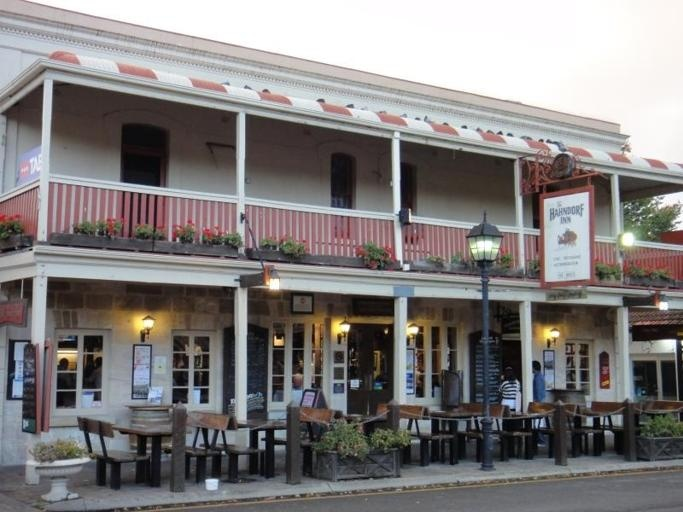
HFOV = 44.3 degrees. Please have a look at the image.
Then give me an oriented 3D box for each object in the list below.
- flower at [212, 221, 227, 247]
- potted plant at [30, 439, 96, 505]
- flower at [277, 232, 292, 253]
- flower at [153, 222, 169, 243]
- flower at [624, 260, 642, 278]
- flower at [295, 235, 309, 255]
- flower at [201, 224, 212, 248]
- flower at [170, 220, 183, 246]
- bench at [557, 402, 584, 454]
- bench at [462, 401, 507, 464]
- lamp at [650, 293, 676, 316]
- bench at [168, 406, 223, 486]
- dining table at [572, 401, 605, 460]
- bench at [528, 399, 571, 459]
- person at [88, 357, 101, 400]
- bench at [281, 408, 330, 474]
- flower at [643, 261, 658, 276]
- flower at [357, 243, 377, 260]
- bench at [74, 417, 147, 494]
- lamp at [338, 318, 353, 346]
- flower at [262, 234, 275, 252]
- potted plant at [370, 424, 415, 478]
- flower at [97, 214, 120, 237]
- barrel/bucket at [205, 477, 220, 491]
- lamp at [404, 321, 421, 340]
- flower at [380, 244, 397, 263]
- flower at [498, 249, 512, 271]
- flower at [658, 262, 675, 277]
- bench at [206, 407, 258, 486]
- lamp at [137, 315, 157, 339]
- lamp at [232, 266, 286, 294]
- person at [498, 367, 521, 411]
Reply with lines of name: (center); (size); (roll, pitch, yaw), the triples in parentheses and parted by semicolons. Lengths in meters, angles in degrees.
flower: (-2.459, -0.457, 17.028); (0.373, 0.476, 0.394); (-1, -2, -43)
potted plant: (-4.844, 3.655, 14.398); (0.927, 1.028, 1.219); (4, -14, -20)
flower: (-1.193, -0.243, 17.551); (0.316, 0.225, 0.309); (2, -7, -6)
flower: (-3.534, -0.441, 16.532); (0.293, 0.296, 0.293); (5, 11, 33)
flower: (7.469, 0.312, 21.604); (0.416, 0.244, 0.414); (7, 2, -20)
flower: (-0.837, -0.235, 17.767); (0.344, 0.248, 0.344); (4, 16, 6)
flower: (-2.705, -0.396, 16.868); (0.285, 0.401, 0.294); (1, -8, 2)
flower: (-3.307, -0.448, 16.697); (0.224, 0.471, 0.334); (2, -14, -12)
bench: (5.538, 4.001, 19.590); (0.578, 1.039, 1.520); (0, -5, 20)
bench: (3.125, 3.855, 18.307); (0.641, 1.022, 1.533); (5, -13, -18)
lamp: (8.213, 1.205, 21.458); (0.426, 0.500, 1.826); (-6, -14, 21)
bench: (-2.959, 3.832, 16.025); (0.857, 0.916, 2.523); (-6, -14, -9)
dining table: (5.718, 4.062, 19.422); (0.518, 0.927, 1.455); (-1, -5, 16)
bench: (4.473, 3.856, 18.655); (0.632, 1.112, 1.631); (-2, -14, 33)
person: (-5.217, 2.581, 17.746); (0.263, 0.910, 0.087); (8, -16, -34)
bench: (-0.662, 3.520, 15.994); (0.568, 1.043, 1.545); (3, -5, -19)
flower: (8.054, 0.331, 21.831); (0.334, 0.085, 0.368); (1, 33, 4)
flower: (0.547, -0.095, 18.278); (0.330, 0.287, 0.316); (5, -3, -27)
bench: (-4.073, 3.521, 15.078); (0.936, 1.177, 1.366); (6, -8, -41)
lamp: (0.094, 1.846, 20.615); (0.262, 0.570, 0.857); (-3, -13, 7)
flower: (-1.505, -0.247, 17.443); (0.272, 0.272, 0.270); (1, 6, -21)
potted plant: (0.943, 3.734, 15.999); (0.787, 0.887, 0.334); (8, -16, -34)
flower: (-4.440, -0.531, 16.024); (0.445, 0.384, 0.208); (2, -14, -15)
barrel/bucket: (-2.282, 3.974, 14.667); (0.189, 0.117, 0.191); (0, -4, 0)
lamp: (1.814, 1.898, 21.363); (0.403, 0.647, 0.518); (1, -5, -3)
flower: (1.033, -0.034, 18.555); (0.155, 0.437, 0.552); (-9, -15, 29)
flower: (3.929, 0.082, 20.138); (0.394, 0.527, 0.448); (2, -6, 39)
flower: (8.537, 0.337, 22.072); (0.240, 0.364, 0.760); (-13, -18, 41)
bench: (-2.080, 3.639, 15.898); (0.610, 1.167, 1.827); (5, -12, -30)
lamp: (-4.191, 1.549, 18.092); (0.307, 0.560, 0.280); (2, -14, -14)
lamp: (-1.611, 0.430, 16.671); (0.493, 0.572, 1.147); (8, -16, -34)
person: (4.033, 3.341, 20.103); (0.494, 1.397, 0.484); (-1, 16, -2)
